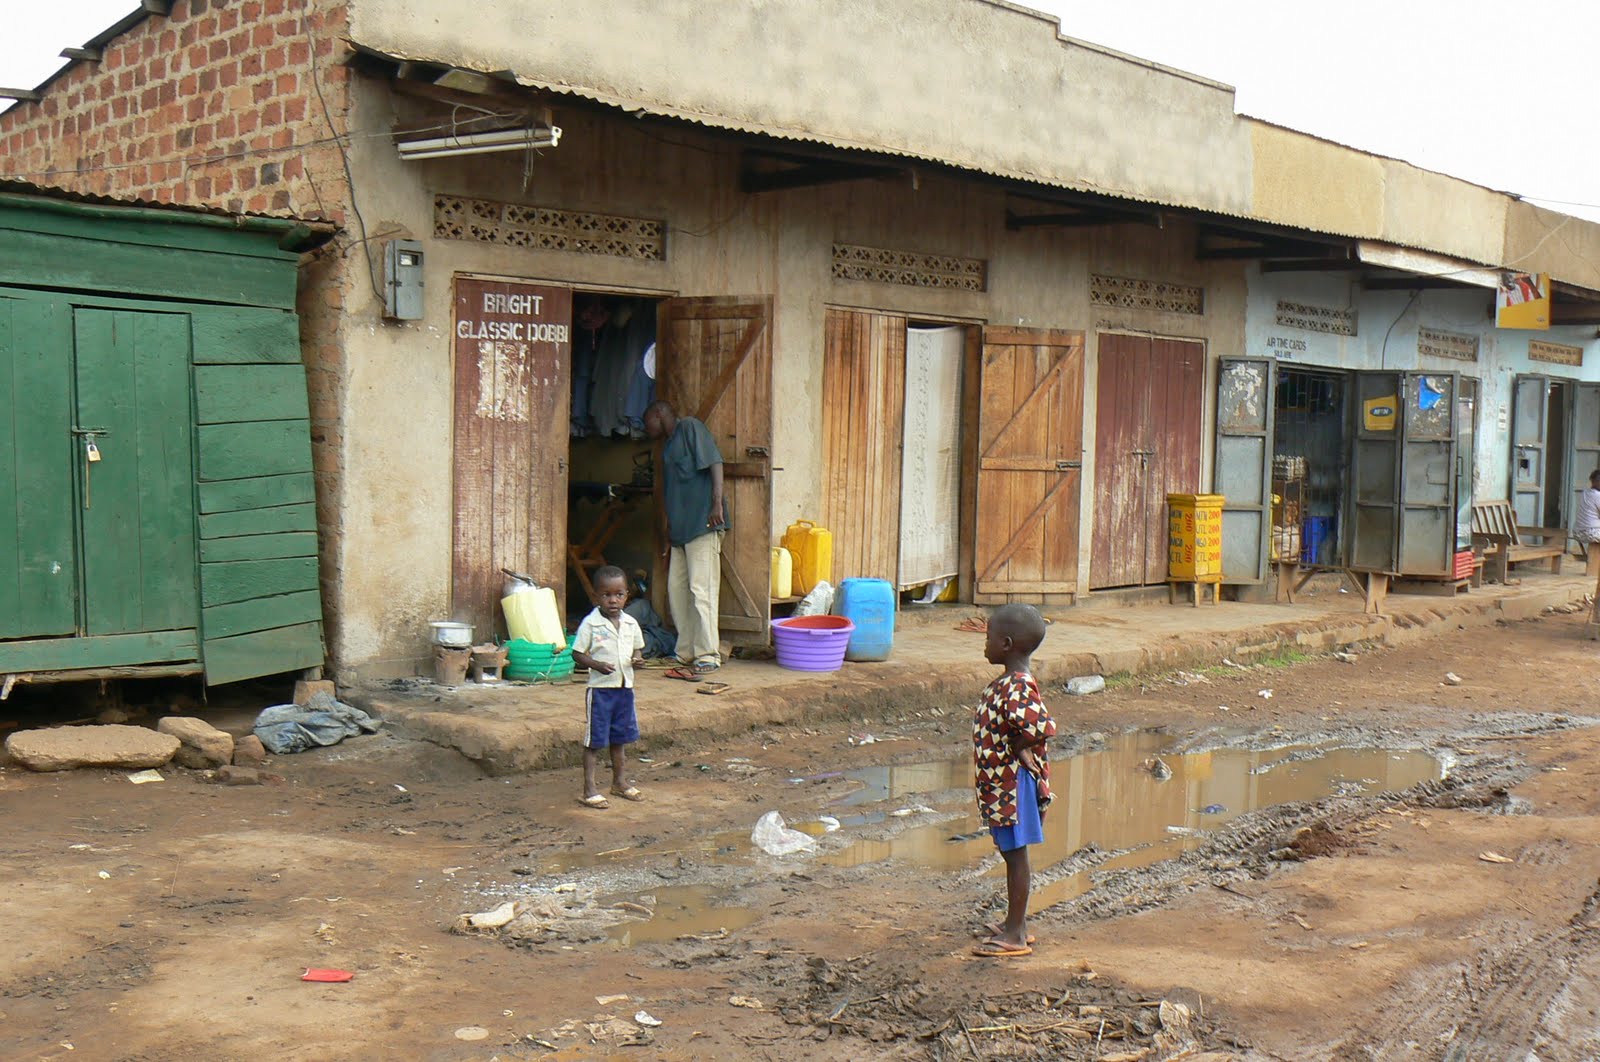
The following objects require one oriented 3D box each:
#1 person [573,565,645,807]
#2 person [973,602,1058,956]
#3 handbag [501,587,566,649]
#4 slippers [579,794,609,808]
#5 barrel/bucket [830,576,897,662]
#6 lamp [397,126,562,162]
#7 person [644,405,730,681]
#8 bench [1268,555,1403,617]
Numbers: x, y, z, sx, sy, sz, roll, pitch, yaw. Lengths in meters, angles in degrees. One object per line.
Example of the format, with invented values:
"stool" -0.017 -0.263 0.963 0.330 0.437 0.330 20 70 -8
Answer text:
"person" -1.429 1.083 13.028 0.469 1.671 0.882 0 14 -5
"person" 1.272 1.507 10.761 0.469 2.042 0.714 3 15 6
"handbag" -2.232 0.701 15.005 0.544 0.521 0.451 -6 16 -27
"slippers" -1.498 1.936 12.834 0.186 0.065 0.165 -3 14 -16
"barrel/bucket" 0.586 0.778 15.913 0.713 0.764 0.518 -1 2 0
"lamp" -2.569 -3.006 13.863 0.760 0.308 1.499 -8 16 -34
"person" -0.979 0.064 15.401 0.600 2.194 1.093 -1 15 -10
"bench" 6.245 0.563 20.814 1.283 0.614 2.172 7 15 22
